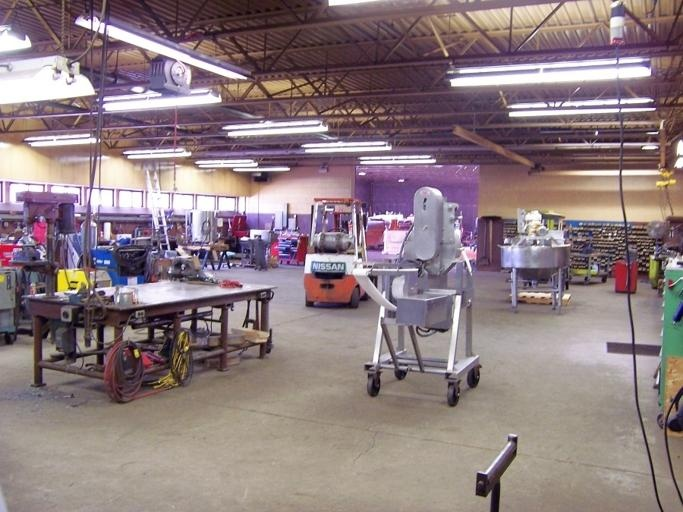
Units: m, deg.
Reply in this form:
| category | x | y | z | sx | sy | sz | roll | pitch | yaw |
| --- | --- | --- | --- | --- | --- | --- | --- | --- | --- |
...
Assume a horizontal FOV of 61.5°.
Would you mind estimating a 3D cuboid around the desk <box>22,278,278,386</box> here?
| category | x | y | z | sx | sy | sz | roll | pitch | yaw |
| --- | --- | --- | --- | --- | --- | --- | --- | --- | --- |
| desk | -2.409 | 0.824 | 7.426 | 1.648 | 1.262 | 2.746 | 5 | 8 | 36 |

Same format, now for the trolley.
| category | x | y | z | sx | sy | sz | roll | pitch | yaw |
| --- | --- | --- | --- | --- | --- | --- | --- | --- | --- |
| trolley | 0.937 | 0.453 | 6.868 | 1.198 | 2.468 | 1.280 | -1 | 1 | 39 |
